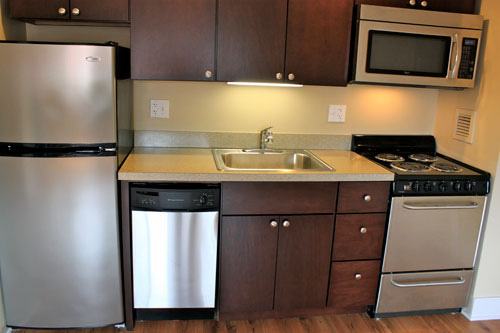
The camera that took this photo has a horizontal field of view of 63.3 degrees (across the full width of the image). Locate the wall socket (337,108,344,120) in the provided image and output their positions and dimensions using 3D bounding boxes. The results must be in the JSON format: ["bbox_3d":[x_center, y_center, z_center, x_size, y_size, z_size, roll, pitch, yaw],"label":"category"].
[{"bbox_3d":[0.758,-0.444,3.411,0.057,0.098,0.007,-2,7,-10],"label":"wall socket"}]

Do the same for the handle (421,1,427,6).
[{"bbox_3d":[1.278,-1.197,2.981,0.042,0.031,0.010,-3,7,-15],"label":"handle"}]

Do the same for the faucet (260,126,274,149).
[{"bbox_3d":[0.134,-0.236,3.299,0.114,0.182,0.179,-1,7,3],"label":"faucet"}]

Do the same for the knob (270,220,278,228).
[{"bbox_3d":[0.164,0.399,2.853,0.048,0.045,0.047,-2,-7,27],"label":"knob"}]

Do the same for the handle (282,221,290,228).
[{"bbox_3d":[0.251,0.406,2.865,0.040,0.042,0.011,37,24,-12],"label":"handle"}]

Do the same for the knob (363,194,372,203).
[{"bbox_3d":[0.841,0.226,2.904,0.041,0.053,0.029,-1,10,3],"label":"knob"}]

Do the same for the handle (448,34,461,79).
[{"bbox_3d":[1.518,-0.817,3.011,0.074,0.321,0.036,4,9,33],"label":"handle"}]

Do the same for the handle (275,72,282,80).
[{"bbox_3d":[0.206,-0.668,2.972,0.055,0.061,0.010,0,20,2],"label":"handle"}]

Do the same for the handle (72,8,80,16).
[{"bbox_3d":[-1.206,-1.069,2.792,0.049,0.046,0.011,1,6,-3],"label":"handle"}]

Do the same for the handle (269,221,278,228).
[{"bbox_3d":[0.167,0.410,2.853,0.043,0.041,0.010,-16,33,7],"label":"handle"}]

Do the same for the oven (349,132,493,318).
[{"bbox_3d":[1.349,0.578,3.075,0.804,1.192,0.331,-3,8,-17],"label":"oven"}]

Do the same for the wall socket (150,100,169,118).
[{"bbox_3d":[-0.730,-0.460,3.250,0.148,0.132,0.034,1,6,-3],"label":"wall socket"}]

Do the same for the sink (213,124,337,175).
[{"bbox_3d":[0.140,-0.134,3.084,0.836,0.354,0.634,-2,7,-6],"label":"sink"}]

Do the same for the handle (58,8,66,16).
[{"bbox_3d":[-1.294,-1.063,2.785,0.052,0.044,0.010,0,7,4],"label":"handle"}]

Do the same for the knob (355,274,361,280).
[{"bbox_3d":[0.806,0.821,3.027,0.045,0.046,0.017,-4,8,-22],"label":"knob"}]

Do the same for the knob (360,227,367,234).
[{"bbox_3d":[0.827,0.464,2.954,0.051,0.051,0.023,-3,8,-19],"label":"knob"}]

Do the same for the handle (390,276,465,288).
[{"bbox_3d":[1.349,0.872,3.066,0.598,0.074,0.034,-1,7,-5],"label":"handle"}]
